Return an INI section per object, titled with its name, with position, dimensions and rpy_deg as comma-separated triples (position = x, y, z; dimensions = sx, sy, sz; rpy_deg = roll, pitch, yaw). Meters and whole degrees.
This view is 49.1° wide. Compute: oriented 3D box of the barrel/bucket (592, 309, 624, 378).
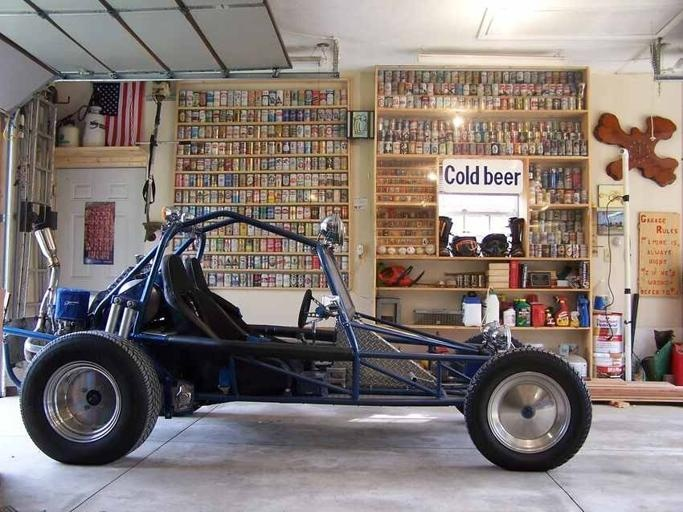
[barrel/bucket]
position = 3.070, 1.023, 8.643
dimensions = 0.362, 0.747, 0.259
rpy_deg = 3, 9, 18

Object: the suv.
[suv]
position = -0.612, 0.608, 6.224
dimensions = 4.507, 1.937, 1.179
rpy_deg = 1, 8, 1

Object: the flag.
[flag]
position = -2.750, -1.717, 9.291
dimensions = 0.868, 1.025, 0.083
rpy_deg = 0, -7, -1
